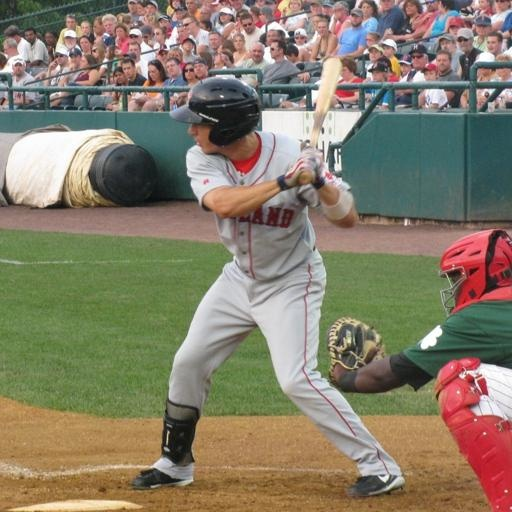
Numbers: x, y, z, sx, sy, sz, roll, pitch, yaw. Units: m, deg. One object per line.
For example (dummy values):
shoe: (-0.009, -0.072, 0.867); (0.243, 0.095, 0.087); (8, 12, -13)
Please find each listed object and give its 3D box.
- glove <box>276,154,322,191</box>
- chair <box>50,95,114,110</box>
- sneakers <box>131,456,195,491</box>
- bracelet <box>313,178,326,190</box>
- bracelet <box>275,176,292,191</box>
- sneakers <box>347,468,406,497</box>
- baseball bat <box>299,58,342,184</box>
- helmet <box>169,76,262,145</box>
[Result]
glove: (0.245, -0.442, 6.281); (0.156, 0.102, 0.243); (-22, 14, 26)
chair: (-2.983, -2.625, 19.786); (1.446, 0.279, 0.421); (10, 17, 39)
sneakers: (-0.527, 1.283, 6.805); (0.426, 0.177, 0.149); (2, -4, -10)
bracelet: (0.348, -0.391, 6.380); (0.039, 0.051, 0.051); (40, -34, -28)
bracelet: (0.149, -0.392, 6.286); (0.061, 0.079, 0.033); (36, 20, 14)
sneakers: (0.679, 1.290, 6.636); (0.366, 0.151, 0.122); (-1, -2, -1)
baseball bat: (0.388, -0.796, 6.701); (0.126, 0.748, 0.117); (12, -9, 5)
helmet: (-0.237, -0.851, 6.713); (0.496, 0.337, 0.488); (-27, 31, -37)
